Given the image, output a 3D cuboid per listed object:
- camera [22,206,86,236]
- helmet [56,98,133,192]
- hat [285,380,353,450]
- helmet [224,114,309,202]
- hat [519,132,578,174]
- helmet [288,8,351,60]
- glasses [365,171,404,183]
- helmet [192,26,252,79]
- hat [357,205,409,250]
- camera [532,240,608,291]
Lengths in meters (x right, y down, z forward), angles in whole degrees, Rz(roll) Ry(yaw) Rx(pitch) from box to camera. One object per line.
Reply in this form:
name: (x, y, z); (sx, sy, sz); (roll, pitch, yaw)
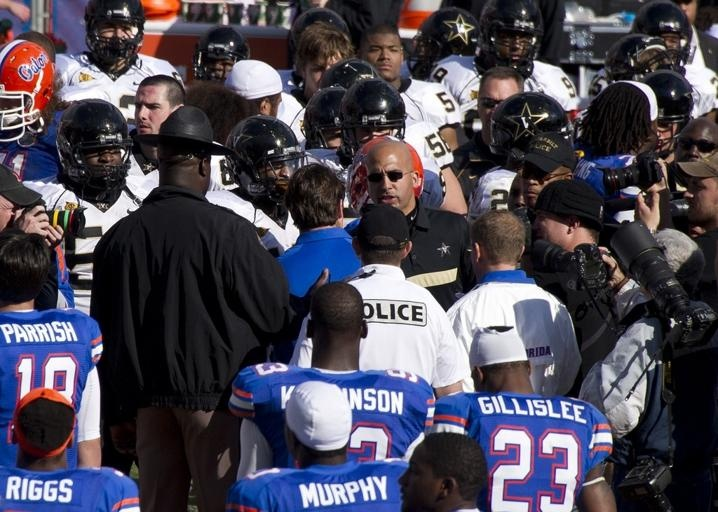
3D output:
camera: (-1.905, -0.215, 9.202); (0.235, 0.115, 0.225); (0, -8, 7)
helmet: (-1.934, -0.802, 10.113); (0.472, 0.563, 0.614); (-5, 20, -35)
hat: (-0.210, 0.850, 7.632); (0.298, 0.212, 0.355); (-4, 48, -22)
helmet: (-0.692, -0.703, 9.977); (0.581, 0.504, 0.442); (25, 24, 33)
hat: (1.290, -0.707, 9.734); (0.233, 0.180, 0.337); (16, 3, 38)
helmet: (-0.400, -2.064, 13.282); (0.414, 0.514, 0.532); (2, 7, -1)
glasses: (0.174, -0.522, 9.396); (0.220, 0.082, 0.059); (2, 4, -3)
helmet: (-1.289, -1.881, 13.294); (0.408, 0.472, 0.530); (8, 7, 9)
hat: (0.151, -0.194, 8.733); (0.324, 0.256, 0.462); (6, 23, 0)
camera: (1.353, 0.021, 9.225); (0.424, 0.278, 0.420); (6, 11, 32)
